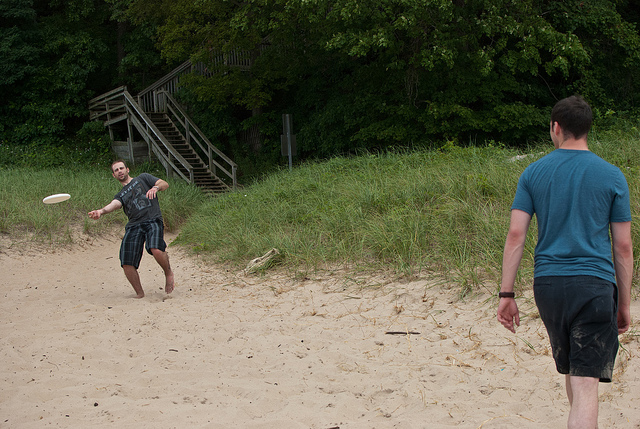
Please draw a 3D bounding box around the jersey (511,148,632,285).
[{"bbox_3d":[3.753,0.101,11.416,2.287,2.617,1.110,2,5,22],"label":"jersey"}]

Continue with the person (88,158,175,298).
[{"bbox_3d":[-3.583,0.264,15.325,1.218,2.757,0.704,-8,9,-13],"label":"person"}]
